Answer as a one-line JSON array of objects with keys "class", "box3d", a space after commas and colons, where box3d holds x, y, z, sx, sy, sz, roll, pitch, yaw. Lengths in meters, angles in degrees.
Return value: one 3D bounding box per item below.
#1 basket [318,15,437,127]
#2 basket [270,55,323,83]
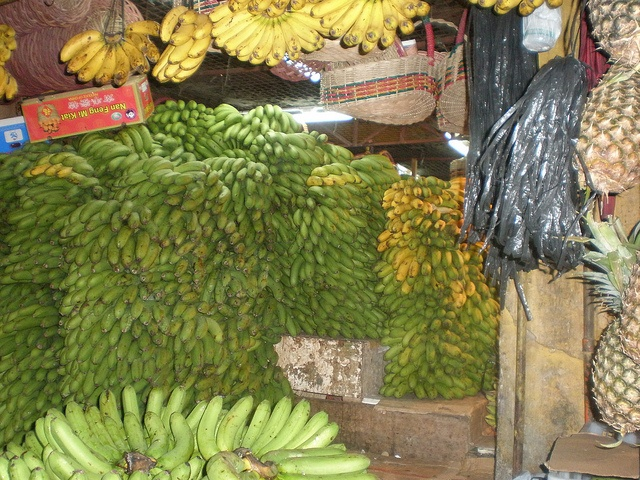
[{"class": "basket", "box3d": [0.412, -1.257, 4.296, 0.746, 0.677, 0.522, -7, 4, -3]}, {"class": "basket", "box3d": [-0.171, -1.341, 4.713, 0.292, 0.242, 0.131, 9, 71, 7]}]
